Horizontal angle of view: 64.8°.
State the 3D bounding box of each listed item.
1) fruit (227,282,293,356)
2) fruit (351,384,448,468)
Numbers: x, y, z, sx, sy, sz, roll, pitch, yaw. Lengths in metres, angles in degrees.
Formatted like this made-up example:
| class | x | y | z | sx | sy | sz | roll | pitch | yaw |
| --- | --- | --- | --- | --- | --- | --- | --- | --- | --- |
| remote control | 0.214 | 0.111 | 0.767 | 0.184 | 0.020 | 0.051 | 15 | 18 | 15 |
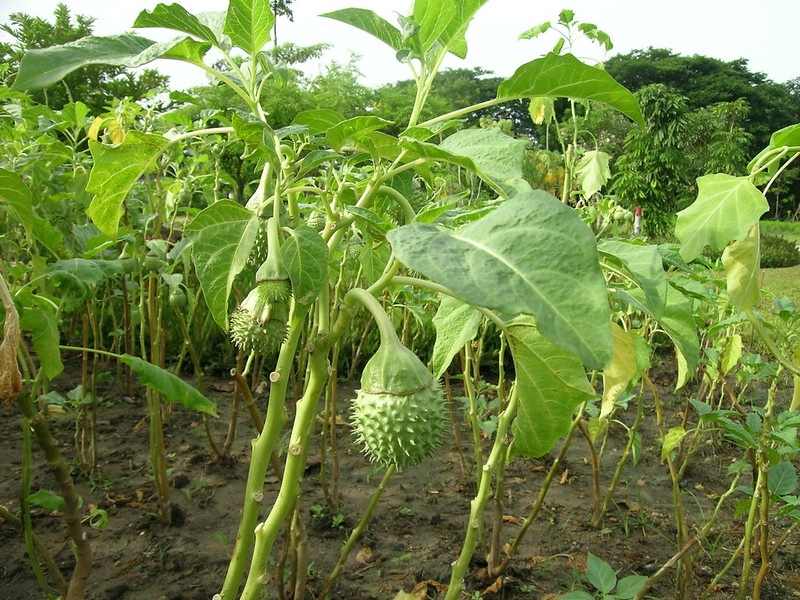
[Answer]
| class | x | y | z | sx | sy | sz | roll | pitch | yaw |
| --- | --- | --- | --- | --- | --- | --- | --- | --- | --- |
| fruit | -0.434 | 0.038 | 2.000 | 0.143 | 0.246 | 0.126 | 13 | 14 | -15 |
| fruit | -0.003 | 0.383 | 1.916 | 0.275 | 0.255 | 0.267 | -13 | -21 | 40 |
